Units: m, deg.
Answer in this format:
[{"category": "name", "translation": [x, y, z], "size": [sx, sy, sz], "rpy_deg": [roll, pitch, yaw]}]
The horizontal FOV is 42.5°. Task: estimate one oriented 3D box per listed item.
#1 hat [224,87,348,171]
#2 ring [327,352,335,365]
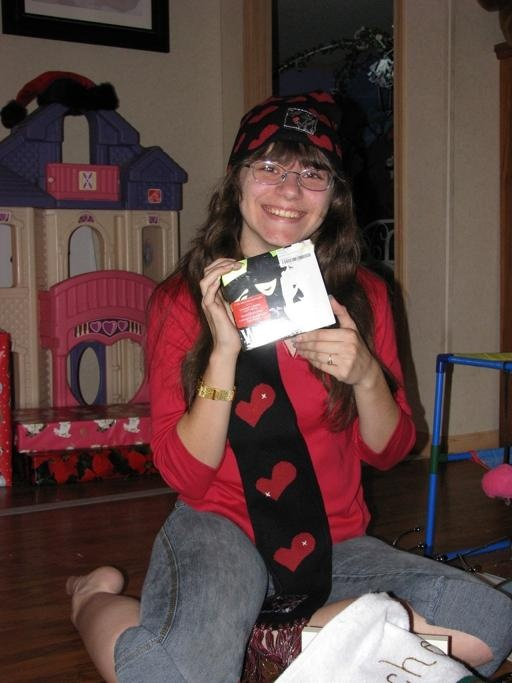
[{"category": "hat", "translation": [0.055, -0.371, 1.175], "size": [0.227, 0.150, 0.158], "rpy_deg": [13, 19, 29]}, {"category": "ring", "translation": [0.117, 0.031, 1.025], "size": [0.012, 0.018, 0.003], "rpy_deg": [2, 4, 28]}]
